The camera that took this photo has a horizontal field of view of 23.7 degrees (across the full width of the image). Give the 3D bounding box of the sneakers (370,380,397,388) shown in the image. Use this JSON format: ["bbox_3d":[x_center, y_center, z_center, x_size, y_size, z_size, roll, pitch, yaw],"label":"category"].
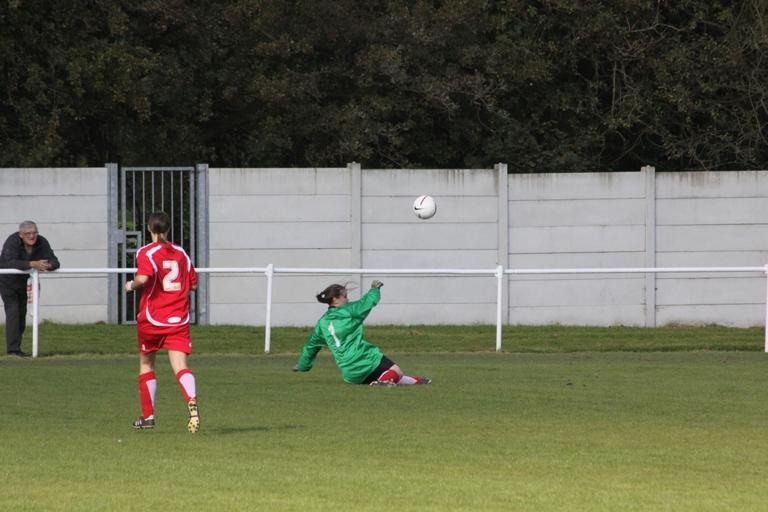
[{"bbox_3d":[-0.072,2.345,33.591,0.468,0.178,0.142,-6,-17,-7],"label":"sneakers"}]

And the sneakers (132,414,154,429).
[{"bbox_3d":[-4.201,2.848,31.746,0.359,0.238,0.229,-1,14,-6],"label":"sneakers"}]

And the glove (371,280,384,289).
[{"bbox_3d":[-0.194,0.529,34.842,0.226,0.113,0.295,-1,-7,1],"label":"glove"}]

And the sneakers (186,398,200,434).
[{"bbox_3d":[-3.317,2.759,31.518,0.231,0.578,0.284,-2,-5,6],"label":"sneakers"}]

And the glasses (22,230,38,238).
[{"bbox_3d":[-7.020,-0.452,36.344,0.142,0.172,0.319,11,17,37],"label":"glasses"}]

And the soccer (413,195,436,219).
[{"bbox_3d":[0.808,-1.022,39.337,0.443,0.506,0.484,0,14,-2],"label":"soccer"}]

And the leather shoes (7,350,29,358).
[{"bbox_3d":[-7.297,1.937,36.368,0.417,0.143,0.171,6,-12,-38],"label":"leather shoes"}]

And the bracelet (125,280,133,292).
[{"bbox_3d":[-4.501,0.513,31.809,0.082,0.187,0.159,-7,1,4],"label":"bracelet"}]
